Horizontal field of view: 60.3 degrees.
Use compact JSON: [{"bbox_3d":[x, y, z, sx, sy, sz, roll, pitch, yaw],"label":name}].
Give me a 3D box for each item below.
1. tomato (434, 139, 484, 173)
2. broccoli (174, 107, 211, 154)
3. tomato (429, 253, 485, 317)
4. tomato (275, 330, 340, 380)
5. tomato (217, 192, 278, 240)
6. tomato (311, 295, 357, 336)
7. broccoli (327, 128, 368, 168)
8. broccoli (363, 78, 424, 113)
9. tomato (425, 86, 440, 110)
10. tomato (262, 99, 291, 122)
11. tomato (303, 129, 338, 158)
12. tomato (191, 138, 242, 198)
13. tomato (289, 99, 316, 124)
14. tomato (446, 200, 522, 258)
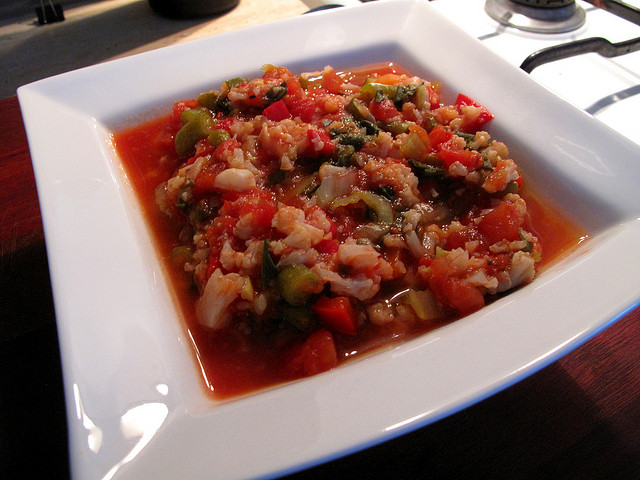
[{"bbox_3d":[0.672,-0.394,2.663,0.235,0.078,0.139,33,62,14],"label":"tomato"},{"bbox_3d":[-0.675,-0.563,2.833,0.222,0.220,0.080,-34,54,-26],"label":"broccoli"},{"bbox_3d":[0.574,0.209,2.360,0.250,0.191,0.089,39,84,1],"label":"tomato"},{"bbox_3d":[-0.050,0.487,2.291,0.210,0.082,0.151,-26,51,-3],"label":"tomato"},{"bbox_3d":[-0.292,-0.118,2.440,0.214,0.078,0.211,-9,47,-25],"label":"tomato"},{"bbox_3d":[0.081,0.310,2.373,0.216,0.123,0.120,30,61,13],"label":"tomato"},{"bbox_3d":[0.144,-0.437,2.685,0.173,0.058,0.182,-33,45,-14],"label":"broccoli"},{"bbox_3d":[0.396,-0.774,2.939,0.200,0.079,0.207,-35,49,-28],"label":"broccoli"},{"bbox_3d":[0.626,-0.760,3.014,0.114,0.041,0.115,10,74,-34],"label":"tomato"},{"bbox_3d":[-0.215,-0.625,2.736,0.109,0.080,0.106,-21,46,-19],"label":"tomato"},{"bbox_3d":[-0.002,-0.452,2.659,0.137,0.058,0.140,39,50,8],"label":"tomato"},{"bbox_3d":[-0.499,-0.351,2.654,0.143,0.156,0.329,23,60,9],"label":"tomato"},{"bbox_3d":[-0.089,-0.653,2.805,0.116,0.068,0.162,13,59,3],"label":"tomato"},{"bbox_3d":[0.751,-0.020,2.505,0.325,0.138,0.171,-19,63,-16],"label":"tomato"}]
